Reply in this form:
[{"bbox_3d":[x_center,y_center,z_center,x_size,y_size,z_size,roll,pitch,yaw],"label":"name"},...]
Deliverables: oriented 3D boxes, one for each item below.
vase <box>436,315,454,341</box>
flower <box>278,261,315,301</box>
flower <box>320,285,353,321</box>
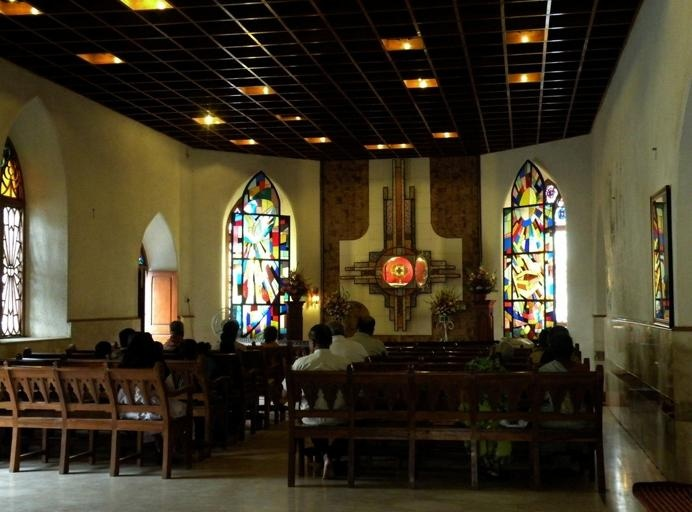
[{"bbox_3d":[2.644,1.954,20.019,0.523,0.840,0.595,4,10,23],"label":"vase"},{"bbox_3d":[-1.376,0.786,20.009,0.859,0.907,0.797,2,-4,-14],"label":"flower"},{"bbox_3d":[-0.291,1.470,20.365,0.836,0.835,1.060,1,10,5],"label":"flower"}]
